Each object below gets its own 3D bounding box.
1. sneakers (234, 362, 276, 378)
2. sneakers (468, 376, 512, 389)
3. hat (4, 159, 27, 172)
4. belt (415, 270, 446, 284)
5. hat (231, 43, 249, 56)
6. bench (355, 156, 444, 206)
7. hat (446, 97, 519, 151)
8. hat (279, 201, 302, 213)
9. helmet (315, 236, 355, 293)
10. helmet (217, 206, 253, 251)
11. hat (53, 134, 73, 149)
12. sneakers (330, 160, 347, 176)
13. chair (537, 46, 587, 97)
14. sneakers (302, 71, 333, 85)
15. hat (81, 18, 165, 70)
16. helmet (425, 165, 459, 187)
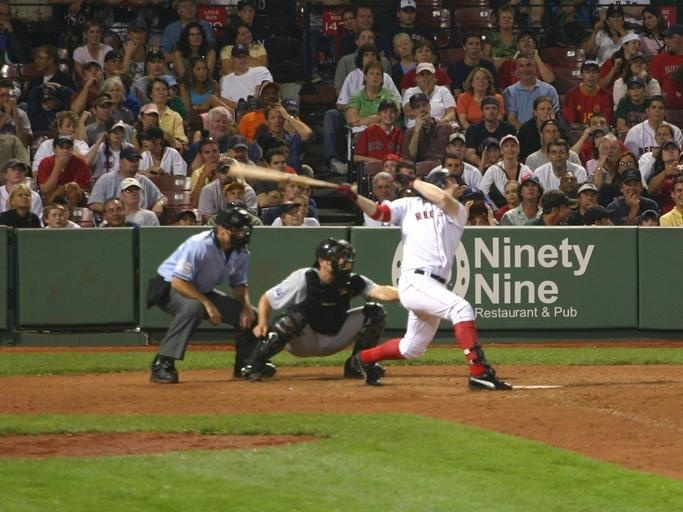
[{"bbox_3d":[-1.052,1.448,17.199,0.588,0.260,0.208,3,-1,0],"label":"sneakers"},{"bbox_3d":[1.757,1.501,16.322,0.548,0.205,0.177,1,-3,3],"label":"sneakers"},{"bbox_3d":[-4.802,-1.306,20.186,0.294,0.172,0.344,-3,10,-19],"label":"hat"},{"bbox_3d":[1.076,0.251,16.280,0.232,0.054,0.205,23,-1,-2],"label":"belt"},{"bbox_3d":[-1.695,-3.397,23.001,0.221,0.176,0.307,-1,-5,-9],"label":"hat"},{"bbox_3d":[0.737,-0.799,16.582,1.017,0.721,0.356,10,-26,2],"label":"bench"},{"bbox_3d":[2.374,-2.070,21.940,0.852,0.873,0.506,-2,10,-11],"label":"hat"},{"bbox_3d":[-0.729,-0.686,19.507,0.217,0.070,0.156,-14,4,13],"label":"hat"},{"bbox_3d":[-0.084,0.097,16.807,0.460,0.545,0.560,2,-23,-44],"label":"helmet"},{"bbox_3d":[-1.280,-0.341,16.700,0.518,0.484,0.387,0,14,3],"label":"helmet"},{"bbox_3d":[-4.096,-1.645,20.154,0.275,0.126,0.391,-1,4,-26],"label":"hat"},{"bbox_3d":[-0.035,-1.421,22.247,0.091,0.182,0.273,-38,16,-27],"label":"sneakers"},{"bbox_3d":[4.146,-3.344,25.170,0.816,1.081,0.931,-1,1,2],"label":"chair"},{"bbox_3d":[-0.392,-3.144,24.513,0.576,0.236,0.190,-7,8,0],"label":"sneakers"},{"bbox_3d":[-3.958,-3.523,23.380,1.281,0.827,0.892,1,10,4],"label":"hat"},{"bbox_3d":[1.235,-0.924,16.461,0.318,0.159,0.247,8,4,-11],"label":"helmet"}]
